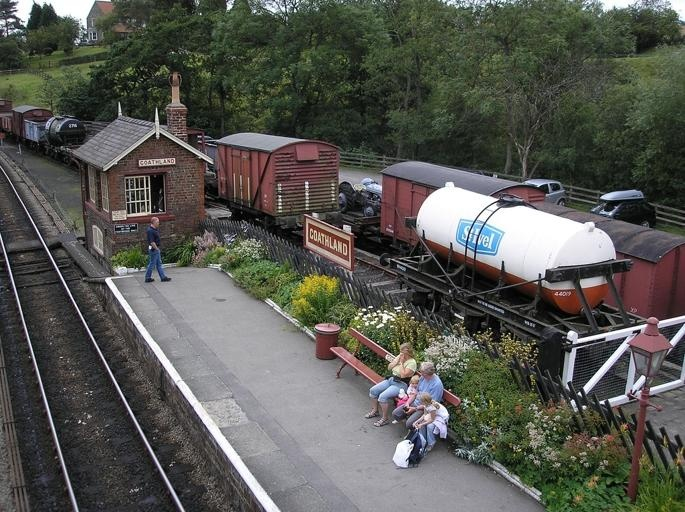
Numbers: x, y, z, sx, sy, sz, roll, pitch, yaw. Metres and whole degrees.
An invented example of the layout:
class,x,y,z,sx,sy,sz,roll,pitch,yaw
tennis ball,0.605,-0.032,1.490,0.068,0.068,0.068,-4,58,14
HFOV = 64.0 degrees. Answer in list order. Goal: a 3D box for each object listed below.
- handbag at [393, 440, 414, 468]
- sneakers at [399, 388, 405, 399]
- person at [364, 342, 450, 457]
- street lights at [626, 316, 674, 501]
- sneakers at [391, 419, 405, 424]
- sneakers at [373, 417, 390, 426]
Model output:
class,x,y,z,sx,sy,sz,roll,pitch,yaw
handbag,1.080,3.517,9.723,0.254,0.467,0.374,10,1,-33
sneakers,1.151,2.702,10.737,0.150,0.160,0.055,-7,-15,34
person,1.196,2.608,10.640,1.465,1.570,0.910,17,23,40
street lights,4.429,2.242,8.285,0.493,2.739,0.834,13,20,32
sneakers,1.061,3.251,10.778,0.230,0.103,0.083,2,10,20
sneakers,0.752,3.249,10.818,0.275,0.113,0.117,0,4,-39
